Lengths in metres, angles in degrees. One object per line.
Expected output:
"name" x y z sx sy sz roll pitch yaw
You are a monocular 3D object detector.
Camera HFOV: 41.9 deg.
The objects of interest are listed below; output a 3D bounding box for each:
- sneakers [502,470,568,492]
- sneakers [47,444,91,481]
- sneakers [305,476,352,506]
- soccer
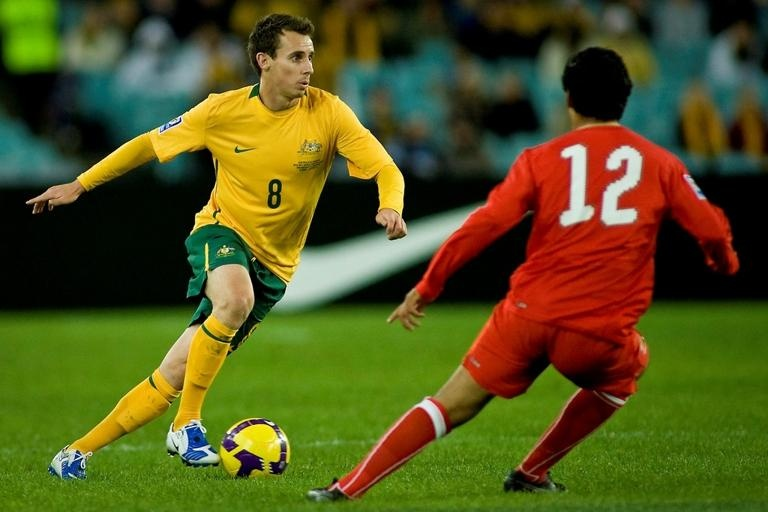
"sneakers" 1.137 1.680 7.596 0.481 0.207 0.180 1 4 -1
"sneakers" -2.482 1.619 7.889 0.318 0.226 0.237 -3 8 -17
"sneakers" -0.408 1.710 7.230 0.348 0.160 0.129 3 -10 2
"soccer" -1.011 1.505 7.873 0.454 0.450 0.435 1 -5 -5
